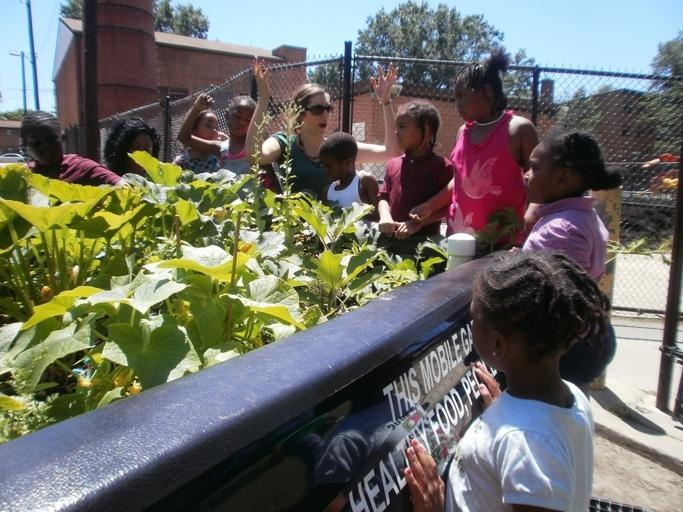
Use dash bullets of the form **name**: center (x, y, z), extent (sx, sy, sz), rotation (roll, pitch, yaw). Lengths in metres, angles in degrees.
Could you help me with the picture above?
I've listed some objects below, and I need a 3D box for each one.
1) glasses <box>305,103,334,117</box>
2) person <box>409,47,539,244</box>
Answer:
- **glasses**: center (-0.147, -0.988, 3.058), extent (0.198, 0.093, 0.087), rotation (0, 15, -15)
- **person**: center (0.915, -0.751, 2.966), extent (0.745, 1.201, 0.656), rotation (2, 14, -6)
